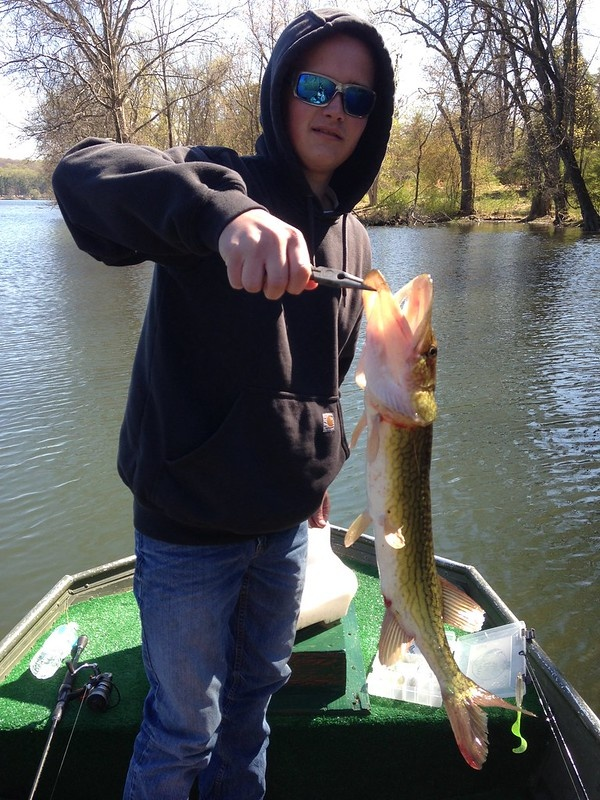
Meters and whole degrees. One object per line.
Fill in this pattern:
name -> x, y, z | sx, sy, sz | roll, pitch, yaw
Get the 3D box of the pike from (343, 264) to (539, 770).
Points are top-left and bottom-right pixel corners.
pike -> 0.373, 0.364, 1.766 | 0.334, 1.355, 0.312 | -9, 5, 14

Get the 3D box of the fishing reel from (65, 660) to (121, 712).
fishing reel -> -0.785, 1.104, 2.440 | 0.126, 0.084, 0.170 | 8, 10, -1
